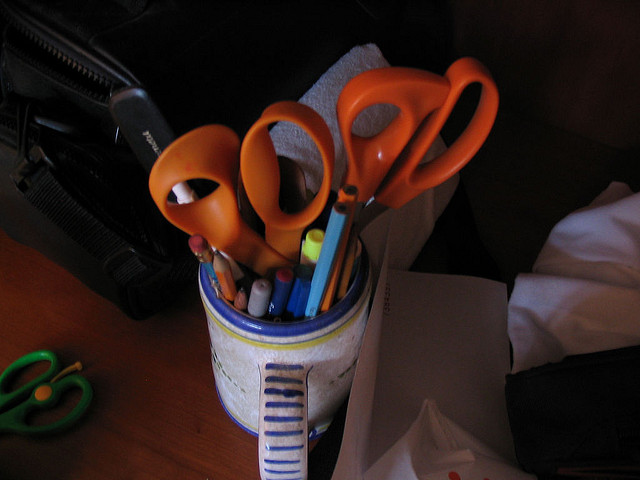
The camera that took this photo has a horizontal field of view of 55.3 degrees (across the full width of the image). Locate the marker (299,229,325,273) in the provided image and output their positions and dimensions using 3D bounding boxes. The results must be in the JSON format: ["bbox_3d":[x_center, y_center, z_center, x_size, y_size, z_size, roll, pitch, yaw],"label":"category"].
[{"bbox_3d":[-0.006,0.009,0.487,0.016,0.036,0.019,10,43,-5],"label":"marker"}]

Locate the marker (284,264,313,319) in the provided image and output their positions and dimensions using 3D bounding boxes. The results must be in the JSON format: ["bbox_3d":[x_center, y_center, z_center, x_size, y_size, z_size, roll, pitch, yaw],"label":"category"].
[{"bbox_3d":[-0.016,0.042,0.524,0.024,0.033,0.049,11,38,2],"label":"marker"}]

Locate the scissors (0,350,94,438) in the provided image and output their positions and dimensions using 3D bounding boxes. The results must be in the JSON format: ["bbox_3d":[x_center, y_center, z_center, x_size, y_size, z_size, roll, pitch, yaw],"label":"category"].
[{"bbox_3d":[-0.267,0.148,0.598,0.089,0.018,0.082,-3,52,-2],"label":"scissors"}]

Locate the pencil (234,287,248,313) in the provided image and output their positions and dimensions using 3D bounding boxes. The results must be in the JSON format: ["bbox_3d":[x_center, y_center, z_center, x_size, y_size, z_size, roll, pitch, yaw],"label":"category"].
[{"bbox_3d":[-0.064,0.048,0.492,0.007,0.018,0.007,27,49,20],"label":"pencil"}]

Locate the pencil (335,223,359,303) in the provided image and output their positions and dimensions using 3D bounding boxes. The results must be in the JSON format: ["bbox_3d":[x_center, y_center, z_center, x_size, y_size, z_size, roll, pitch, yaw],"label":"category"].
[{"bbox_3d":[0.023,0.017,0.497,0.011,0.087,0.010,7,23,-17],"label":"pencil"}]

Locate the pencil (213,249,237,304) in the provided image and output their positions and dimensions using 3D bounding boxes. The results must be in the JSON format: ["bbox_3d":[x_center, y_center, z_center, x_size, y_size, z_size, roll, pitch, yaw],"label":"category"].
[{"bbox_3d":[-0.072,0.033,0.495,0.010,0.012,0.038,-11,62,24],"label":"pencil"}]

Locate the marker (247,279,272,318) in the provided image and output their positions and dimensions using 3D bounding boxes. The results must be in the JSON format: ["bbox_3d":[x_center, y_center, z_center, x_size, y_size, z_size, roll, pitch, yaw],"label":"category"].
[{"bbox_3d":[-0.049,0.045,0.490,0.015,0.031,0.016,15,14,8],"label":"marker"}]
